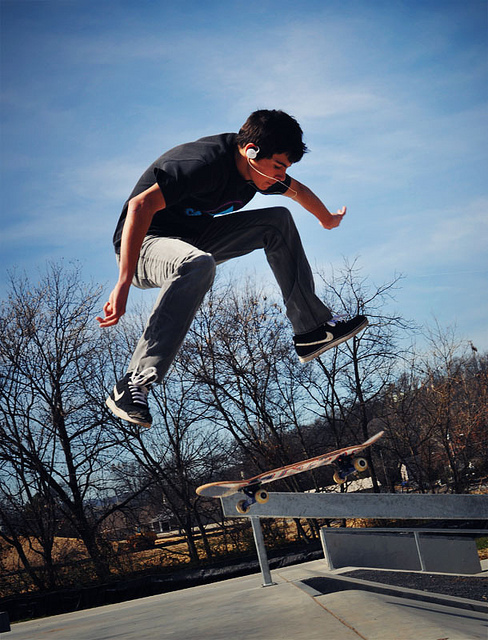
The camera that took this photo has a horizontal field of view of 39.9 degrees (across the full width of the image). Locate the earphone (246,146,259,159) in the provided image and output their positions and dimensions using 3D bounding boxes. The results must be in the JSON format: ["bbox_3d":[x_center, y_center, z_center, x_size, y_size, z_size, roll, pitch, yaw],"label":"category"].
[{"bbox_3d":[0.063,-1.246,5.014,0.067,0.089,0.098,5,16,-10],"label":"earphone"}]
